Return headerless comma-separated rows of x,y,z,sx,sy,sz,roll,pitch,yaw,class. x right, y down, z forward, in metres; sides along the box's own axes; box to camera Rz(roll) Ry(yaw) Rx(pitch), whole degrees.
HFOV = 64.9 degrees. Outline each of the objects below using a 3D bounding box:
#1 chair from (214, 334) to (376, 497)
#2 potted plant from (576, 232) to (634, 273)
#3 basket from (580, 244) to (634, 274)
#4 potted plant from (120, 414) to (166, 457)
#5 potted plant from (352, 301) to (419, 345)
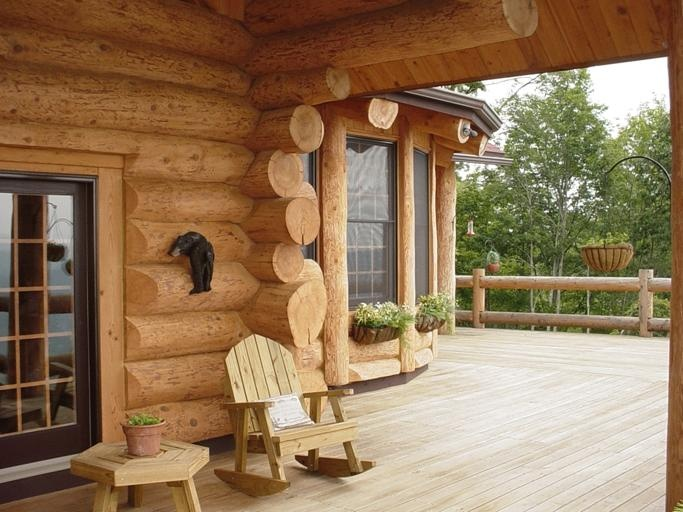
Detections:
-0.489,1.310,4.597,0.934,1.153,0.887,-1,0,-39,chair
3.900,-0.030,7.599,0.841,0.386,0.711,-9,2,-18,potted plant
3.637,0.036,7.511,0.598,0.258,0.559,-4,-6,34,basket
-1.371,1.258,3.801,0.353,0.156,0.286,0,-7,1,potted plant
0.559,0.911,7.304,0.876,0.310,0.727,0,-2,-42,potted plant
